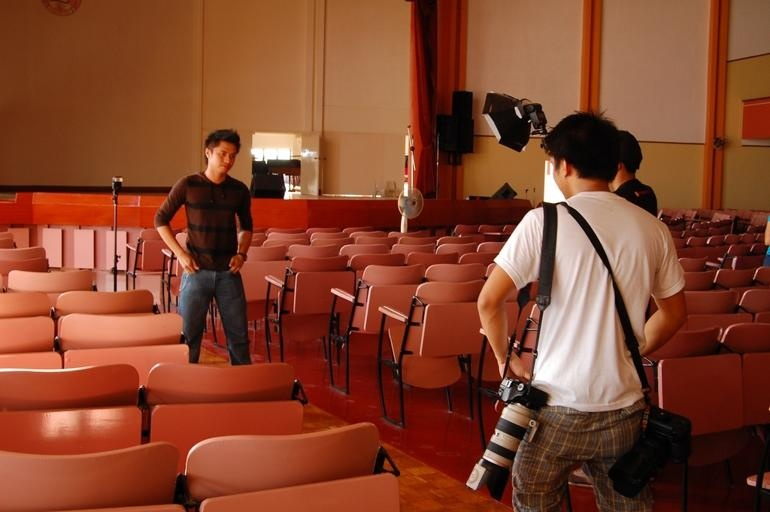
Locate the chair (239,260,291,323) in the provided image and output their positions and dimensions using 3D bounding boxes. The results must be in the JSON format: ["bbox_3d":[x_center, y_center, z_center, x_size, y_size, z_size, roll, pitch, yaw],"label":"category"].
[{"bbox_3d":[-1.264,0.321,6.088,0.517,0.692,0.572,-2,18,-8],"label":"chair"}]

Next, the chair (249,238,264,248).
[{"bbox_3d":[-1.690,-0.175,7.512,0.126,0.112,0.145,-1,-2,30],"label":"chair"}]

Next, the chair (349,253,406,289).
[{"bbox_3d":[-0.103,0.094,5.858,0.362,0.496,0.335,-3,13,-19],"label":"chair"}]

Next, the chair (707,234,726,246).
[{"bbox_3d":[5.112,-0.207,8.933,0.206,0.111,0.299,-3,-3,7],"label":"chair"}]

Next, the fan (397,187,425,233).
[{"bbox_3d":[0.446,-0.808,10.396,0.419,0.850,1.040,0,11,2],"label":"fan"}]

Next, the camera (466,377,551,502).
[{"bbox_3d":[0.440,0.666,2.197,0.192,0.456,0.285,23,8,-20],"label":"camera"}]

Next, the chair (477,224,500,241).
[{"bbox_3d":[1.774,-0.404,9.693,0.344,0.283,0.334,0,-5,-9],"label":"chair"}]

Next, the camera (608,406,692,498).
[{"bbox_3d":[1.015,0.757,2.246,0.365,0.225,0.156,-42,-14,-10],"label":"camera"}]

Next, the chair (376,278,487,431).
[{"bbox_3d":[0.281,0.717,4.723,0.803,1.379,1.059,-1,4,-22],"label":"chair"}]

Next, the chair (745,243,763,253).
[{"bbox_3d":[5.193,-0.109,8.091,0.132,0.185,0.148,-2,13,-5],"label":"chair"}]

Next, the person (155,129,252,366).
[{"bbox_3d":[-1.354,-0.022,4.375,0.699,1.838,0.649,-4,11,-17],"label":"person"}]

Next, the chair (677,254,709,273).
[{"bbox_3d":[3.083,0.079,5.764,0.136,0.200,0.140,-4,17,-7],"label":"chair"}]

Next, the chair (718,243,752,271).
[{"bbox_3d":[4.350,0.025,7.159,0.236,0.324,0.266,6,5,-3],"label":"chair"}]

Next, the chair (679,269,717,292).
[{"bbox_3d":[2.625,0.215,4.815,0.193,0.252,0.218,-1,9,-1],"label":"chair"}]
